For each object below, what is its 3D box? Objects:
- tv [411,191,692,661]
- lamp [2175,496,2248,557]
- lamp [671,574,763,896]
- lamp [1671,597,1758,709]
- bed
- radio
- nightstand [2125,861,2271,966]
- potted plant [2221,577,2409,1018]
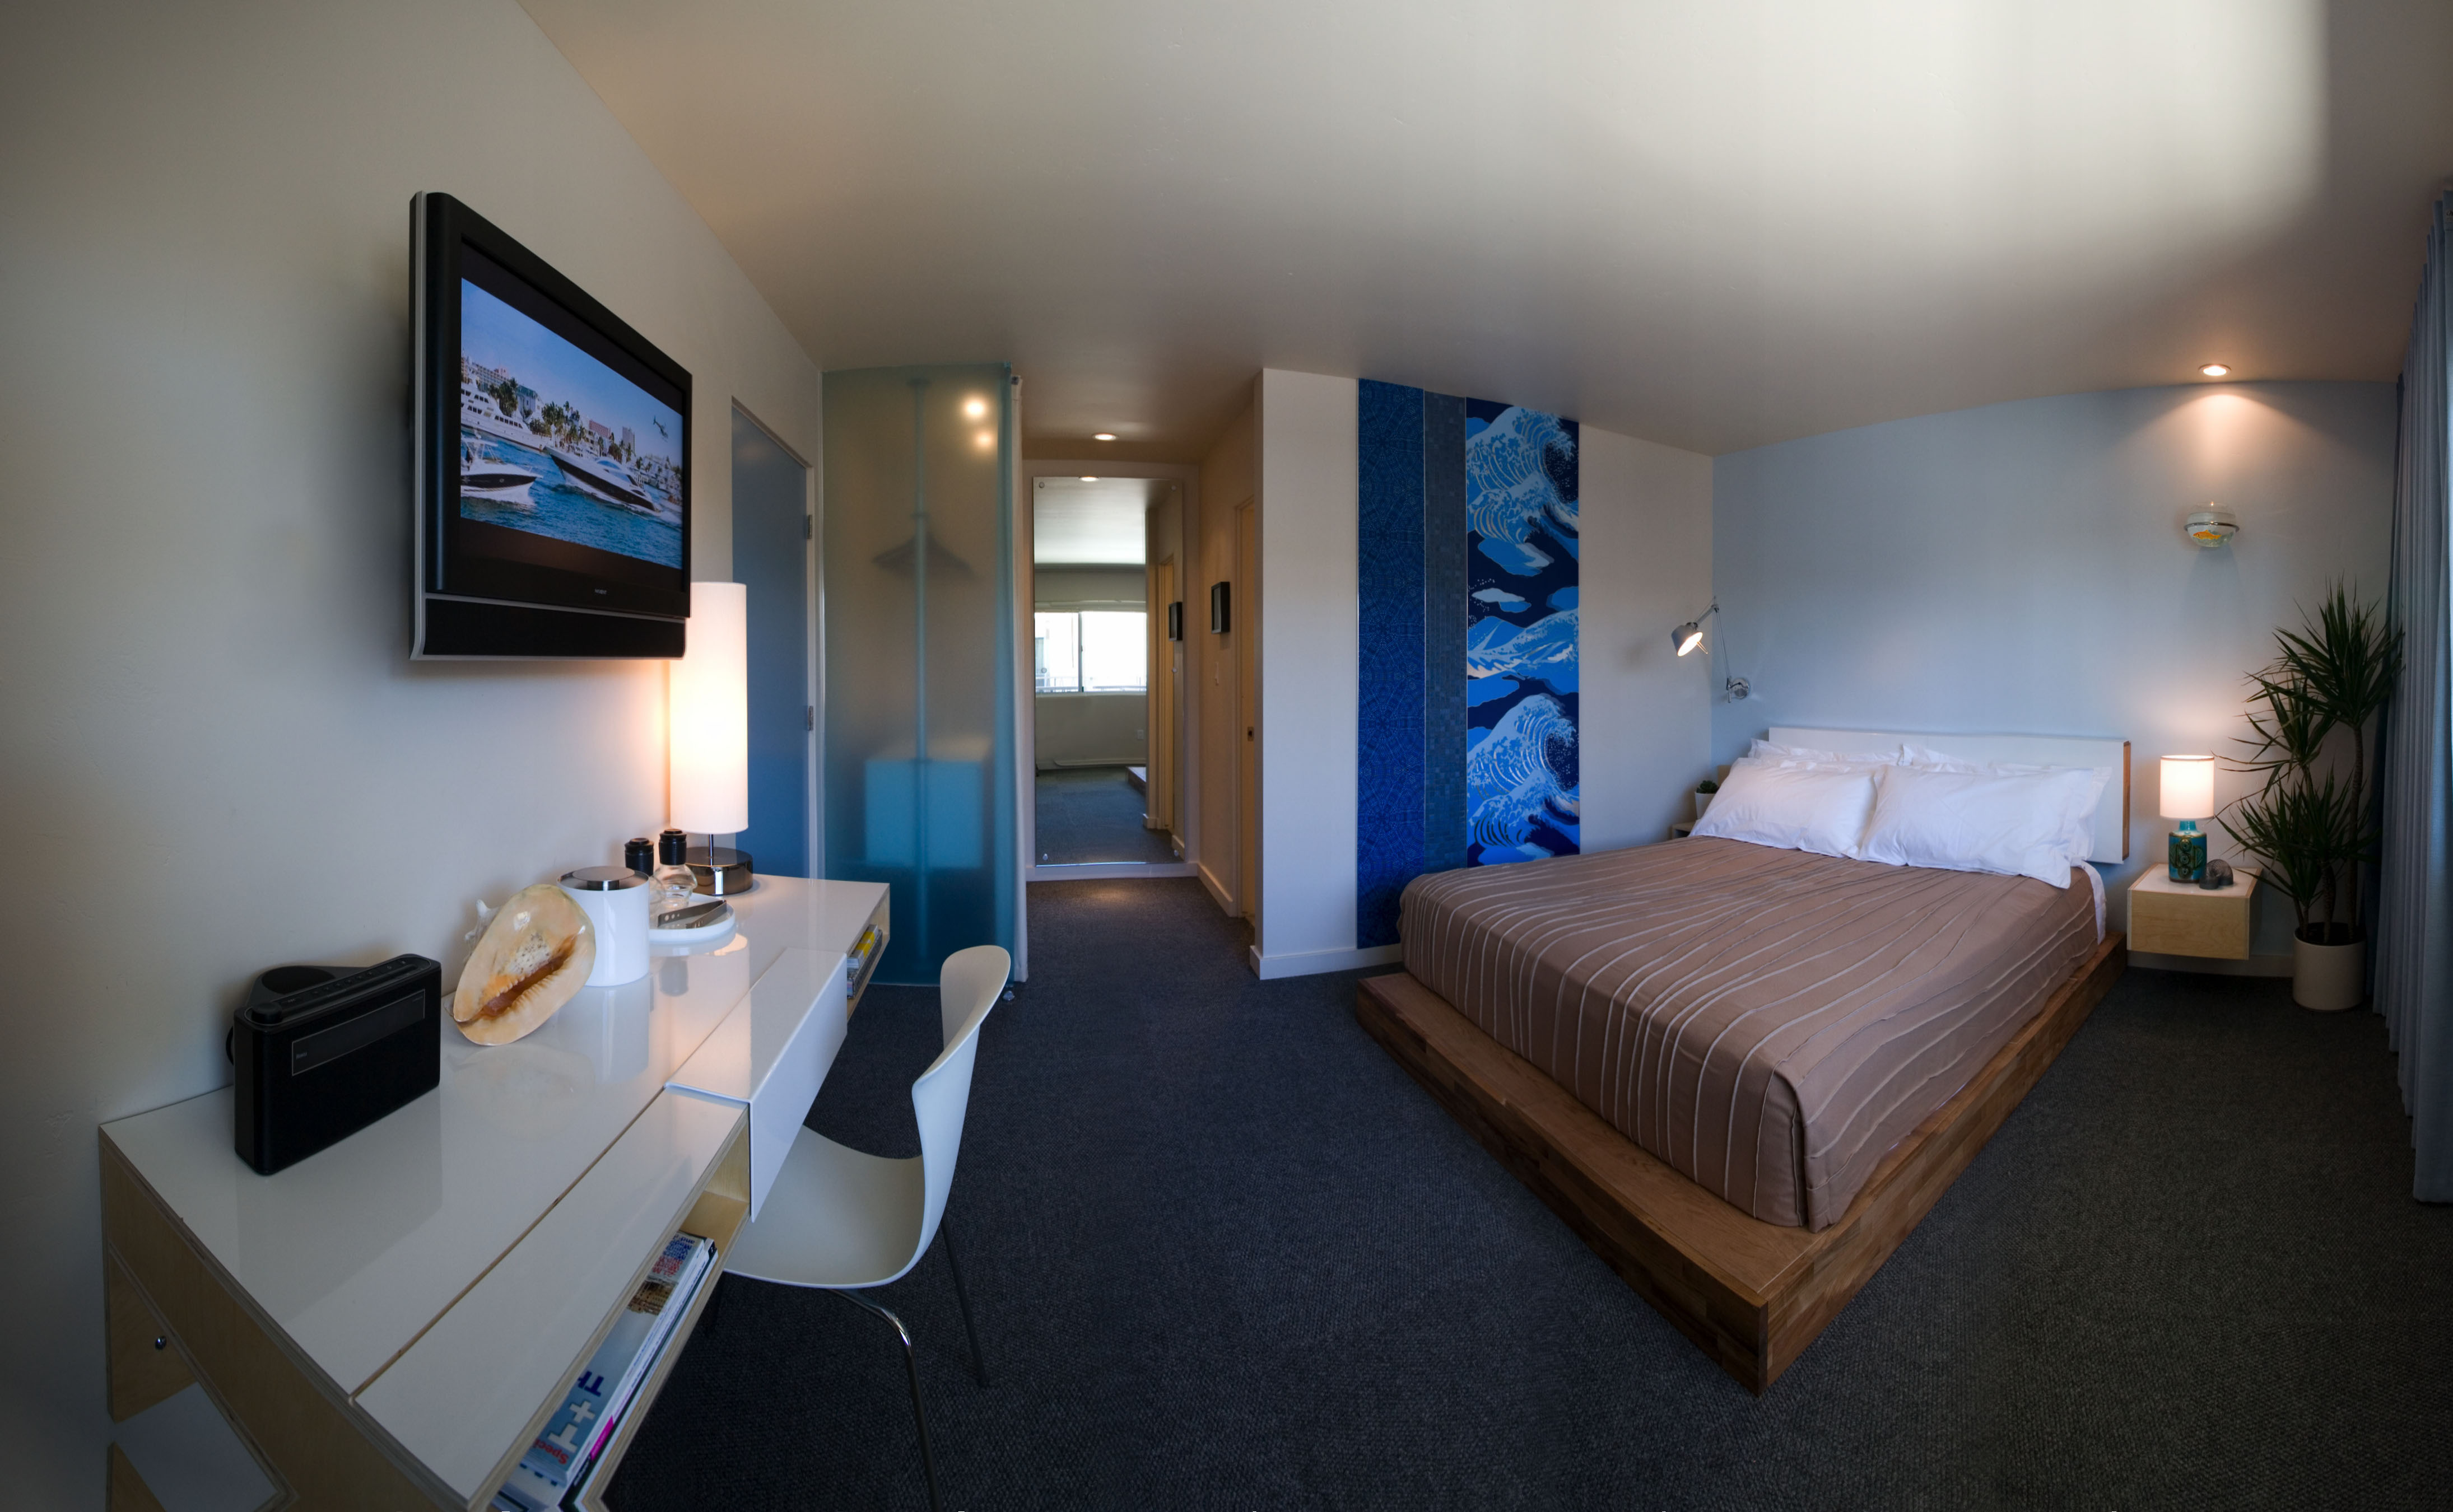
[{"bbox_3d":[-1.778,-0.831,3.877,0.168,1.105,0.828,0,5,22],"label":"tv"},{"bbox_3d":[3.834,-0.899,5.707,0.196,0.185,0.194,4,-6,-44],"label":"lamp"},{"bbox_3d":[-1.551,-0.146,4.369,0.220,0.739,0.146,-3,5,-20],"label":"lamp"},{"bbox_3d":[2.204,-0.495,6.878,0.539,0.462,0.286,-5,6,-38],"label":"lamp"},{"bbox_3d":[1.980,0.552,5.465,2.948,1.002,2.014,-18,21,-36],"label":"bed"},{"bbox_3d":[-2.132,0.658,3.420,0.328,0.380,0.444,17,18,22],"label":"radio"},{"bbox_3d":[3.755,0.590,5.708,0.430,0.235,0.447,4,12,42],"label":"nightstand"},{"bbox_3d":[4.112,0.146,5.566,0.483,1.581,0.312,0,5,17],"label":"potted plant"}]
